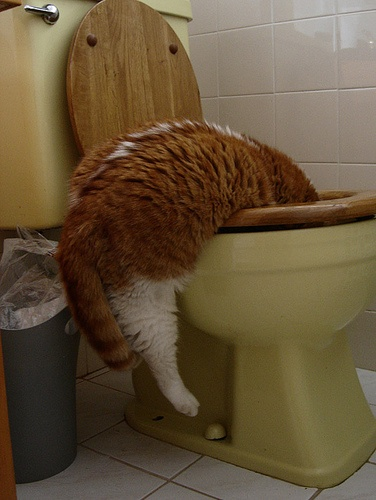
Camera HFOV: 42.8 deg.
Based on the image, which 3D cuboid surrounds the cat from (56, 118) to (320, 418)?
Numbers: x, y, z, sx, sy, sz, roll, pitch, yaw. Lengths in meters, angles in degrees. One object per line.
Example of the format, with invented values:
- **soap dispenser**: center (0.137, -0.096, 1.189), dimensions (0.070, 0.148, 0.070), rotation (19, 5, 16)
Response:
- **cat**: center (-0.023, 0.040, 0.649), dimensions (0.289, 0.402, 0.115), rotation (-2, 7, 2)
